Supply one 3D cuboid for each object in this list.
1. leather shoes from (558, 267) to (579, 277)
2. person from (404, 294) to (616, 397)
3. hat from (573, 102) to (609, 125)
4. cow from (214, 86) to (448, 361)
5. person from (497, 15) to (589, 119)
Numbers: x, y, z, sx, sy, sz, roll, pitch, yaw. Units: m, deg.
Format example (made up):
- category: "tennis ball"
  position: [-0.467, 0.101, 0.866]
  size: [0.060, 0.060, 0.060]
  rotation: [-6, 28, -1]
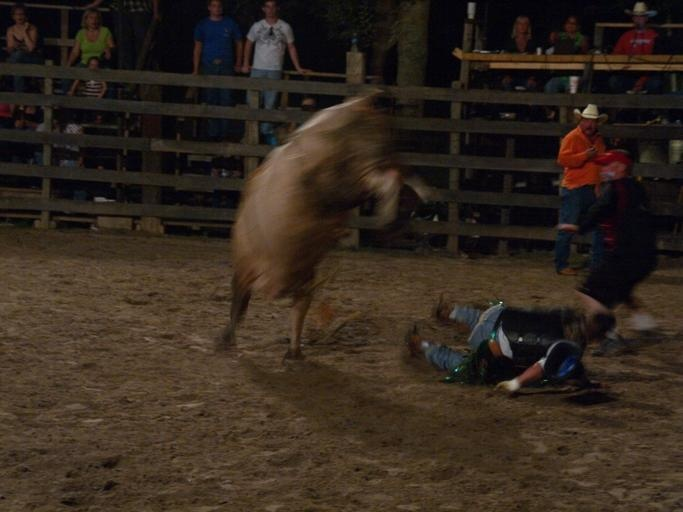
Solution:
- category: "leather shoes"
  position: [2.602, 0.183, 10.514]
  size: [0.105, 0.064, 0.197]
  rotation: [1, -2, -43]
- category: "person"
  position: [1.471, 0.669, 7.599]
  size: [1.740, 0.483, 1.144]
  rotation: [5, 30, 38]
- category: "hat"
  position: [2.804, -1.637, 10.295]
  size: [0.459, 0.133, 0.425]
  rotation: [7, -4, 14]
- category: "cow"
  position: [-0.184, -0.401, 7.023]
  size: [0.726, 1.751, 1.491]
  rotation: [4, 7, -35]
- category: "person"
  position: [2.798, -2.638, 12.779]
  size: [1.041, 1.431, 1.585]
  rotation: [8, 6, -7]
